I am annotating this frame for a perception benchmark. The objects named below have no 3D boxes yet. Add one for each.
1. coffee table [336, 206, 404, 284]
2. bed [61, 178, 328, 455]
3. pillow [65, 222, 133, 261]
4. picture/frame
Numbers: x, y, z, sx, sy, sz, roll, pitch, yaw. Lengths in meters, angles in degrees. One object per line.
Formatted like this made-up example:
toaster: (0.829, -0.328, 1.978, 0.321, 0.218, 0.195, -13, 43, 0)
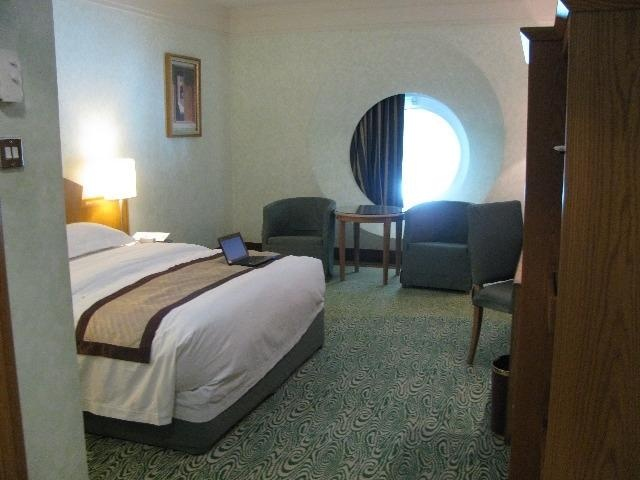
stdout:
coffee table: (0.540, 0.031, 6.310, 0.849, 0.936, 0.874, 3, 11, 15)
bed: (-1.022, 0.411, 3.228, 1.331, 0.942, 1.424, 2, 10, 17)
pillow: (-1.910, -0.008, 4.351, 0.631, 0.188, 0.509, 6, 11, 41)
picture/frame: (-1.643, -1.739, 6.230, 0.070, 0.937, 0.611, 5, 14, 26)
